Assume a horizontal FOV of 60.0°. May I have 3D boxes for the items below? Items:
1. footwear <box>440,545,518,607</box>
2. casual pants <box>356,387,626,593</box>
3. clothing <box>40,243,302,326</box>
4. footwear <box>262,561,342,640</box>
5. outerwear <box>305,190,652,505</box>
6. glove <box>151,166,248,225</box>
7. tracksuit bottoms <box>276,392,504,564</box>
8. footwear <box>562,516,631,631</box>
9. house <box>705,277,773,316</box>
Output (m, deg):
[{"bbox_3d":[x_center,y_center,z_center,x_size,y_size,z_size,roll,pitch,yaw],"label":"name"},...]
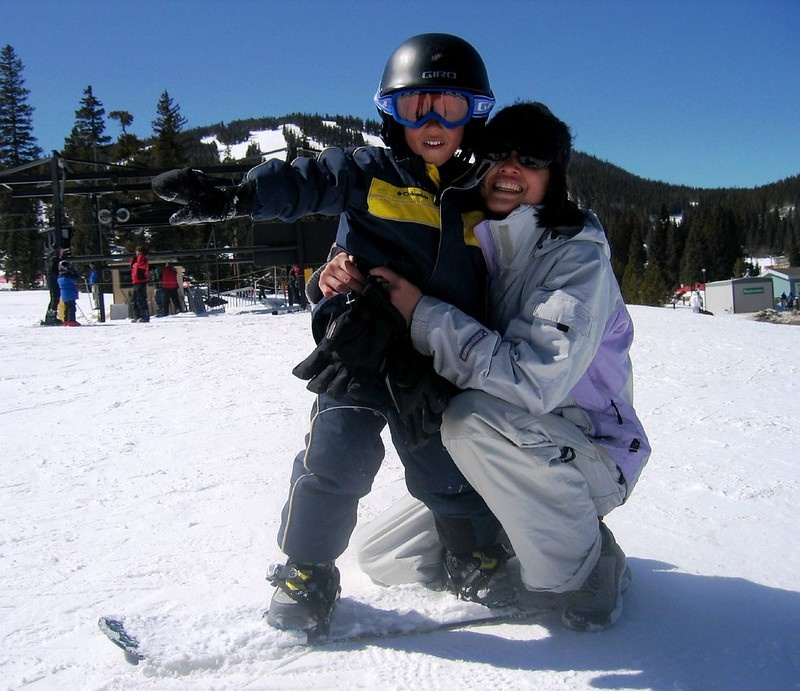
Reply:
[{"bbox_3d":[0.265,0.910,2.616,0.176,0.137,0.380,-47,8,-18],"label":"footwear"},{"bbox_3d":[0.440,0.486,2.586,0.735,0.601,0.918,-8,-11,-44],"label":"casual pants"},{"bbox_3d":[-6.015,-1.637,18.558,4.119,2.103,2.086,2,-1,-32],"label":"clothing"},{"bbox_3d":[-0.353,0.888,2.476,0.234,0.230,0.412,0,9,3],"label":"footwear"},{"bbox_3d":[0.380,0.014,2.757,0.951,1.098,0.822,11,-4,-13],"label":"outerwear"},{"bbox_3d":[-0.673,-0.533,2.348,0.264,0.160,0.194,-7,20,-31],"label":"glove"},{"bbox_3d":[0.014,0.419,2.585,0.859,0.924,0.355,-4,40,-8],"label":"tracksuit bottoms"},{"bbox_3d":[0.686,0.842,2.530,0.144,0.317,0.421,-9,3,26],"label":"footwear"},{"bbox_3d":[21.190,-3.132,43.435,3.744,2.246,1.681,4,10,30],"label":"house"}]
